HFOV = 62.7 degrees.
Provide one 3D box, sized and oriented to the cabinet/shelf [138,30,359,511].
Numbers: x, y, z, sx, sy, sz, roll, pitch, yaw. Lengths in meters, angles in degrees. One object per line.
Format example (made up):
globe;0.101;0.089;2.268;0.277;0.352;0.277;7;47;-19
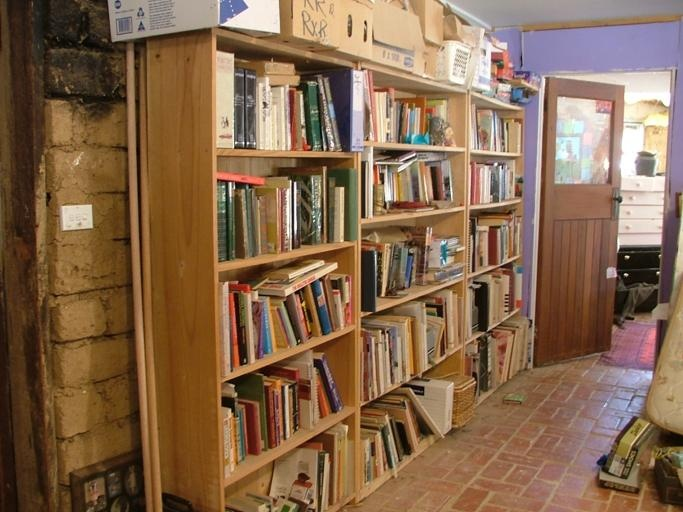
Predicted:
cabinet/shelf;-0.442;0.228;2.620;0.432;2.348;1.029;5;10;36

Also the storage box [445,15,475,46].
storage box;0.796;-1.540;3.812;0.184;0.092;0.253;6;-5;44

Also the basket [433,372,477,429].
basket;0.856;1.048;4.069;0.265;0.275;0.377;-3;-4;35

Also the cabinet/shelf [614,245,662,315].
cabinet/shelf;3.932;0.157;7.240;0.682;0.652;0.260;10;49;35

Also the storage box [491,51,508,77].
storage box;1.281;-1.571;4.551;0.126;0.213;0.222;4;12;37
